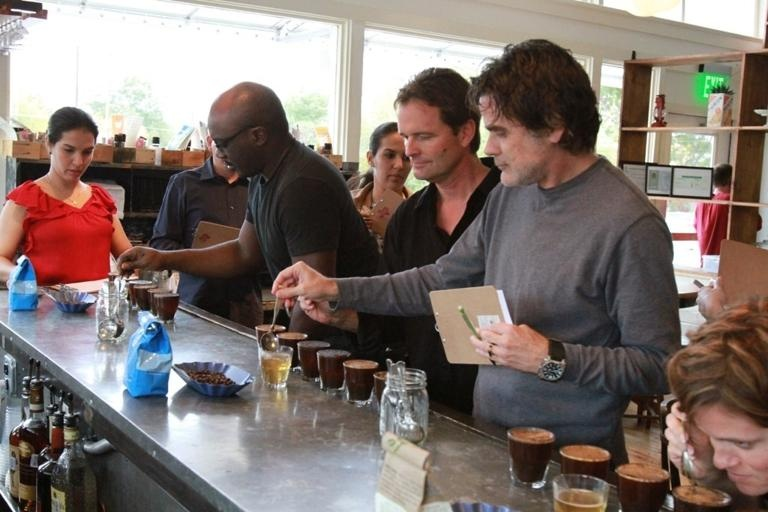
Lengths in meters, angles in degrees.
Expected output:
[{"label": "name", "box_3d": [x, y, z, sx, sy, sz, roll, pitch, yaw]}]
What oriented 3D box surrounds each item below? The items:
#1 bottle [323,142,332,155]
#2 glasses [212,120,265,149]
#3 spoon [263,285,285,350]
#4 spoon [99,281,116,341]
[{"label": "bottle", "box_3d": [-0.572, -1.074, 6.090, 0.114, 0.112, 0.107, 3, -8, -14]}, {"label": "glasses", "box_3d": [-0.672, -0.534, 2.739, 0.137, 0.036, 0.130, -32, 15, -16]}, {"label": "spoon", "box_3d": [-0.440, 0.246, 2.457, 0.082, 0.300, 0.044, 1, -22, 17]}, {"label": "spoon", "box_3d": [-1.151, 0.234, 2.537, 0.093, 0.234, 0.067, 5, 5, 40]}]
